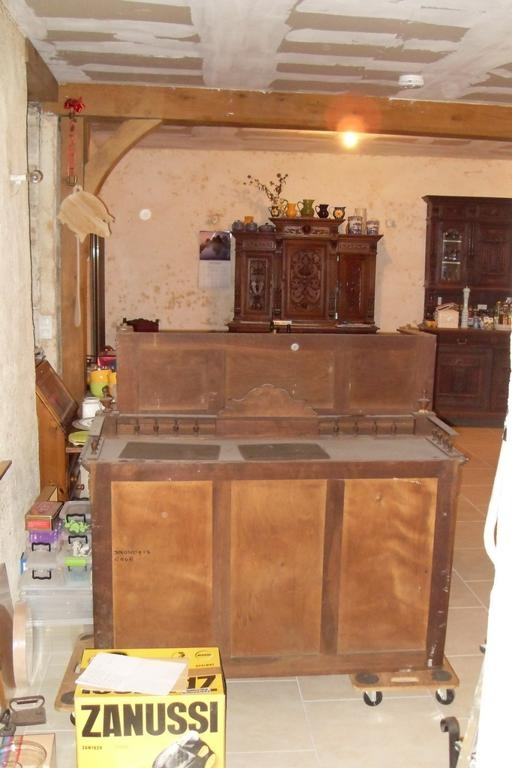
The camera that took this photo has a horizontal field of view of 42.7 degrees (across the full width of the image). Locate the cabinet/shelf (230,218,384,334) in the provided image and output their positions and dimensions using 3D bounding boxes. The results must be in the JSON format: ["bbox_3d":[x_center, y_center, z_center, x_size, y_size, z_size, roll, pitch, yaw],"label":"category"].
[{"bbox_3d":[0.517,-1.107,6.907,1.523,1.117,0.456,1,6,-2],"label":"cabinet/shelf"}]

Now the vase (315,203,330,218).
[{"bbox_3d":[0.716,-1.837,6.956,0.159,0.201,0.207,1,9,13],"label":"vase"}]

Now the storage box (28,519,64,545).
[{"bbox_3d":[-0.899,0.634,2.777,0.123,0.085,0.117,-1,11,-7],"label":"storage box"}]

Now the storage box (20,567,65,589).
[{"bbox_3d":[-0.888,0.815,2.735,0.163,0.084,0.037,2,-14,-12],"label":"storage box"}]

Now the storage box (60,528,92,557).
[{"bbox_3d":[-0.772,0.693,2.830,0.106,0.095,0.026,-1,-11,13],"label":"storage box"}]

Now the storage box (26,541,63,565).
[{"bbox_3d":[-0.902,0.722,2.762,0.126,0.073,0.085,-2,11,-19],"label":"storage box"}]

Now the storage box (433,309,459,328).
[{"bbox_3d":[2.148,-0.724,7.438,0.247,0.233,0.234,0,0,-1],"label":"storage box"}]

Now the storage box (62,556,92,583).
[{"bbox_3d":[-0.752,0.784,2.769,0.114,0.106,0.074,-2,0,-4],"label":"storage box"}]

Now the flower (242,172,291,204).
[{"bbox_3d":[0.191,-2.111,7.184,0.353,0.215,0.630,13,22,-28],"label":"flower"}]

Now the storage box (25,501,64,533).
[{"bbox_3d":[-0.914,0.561,2.800,0.117,0.049,0.206,1,11,-10],"label":"storage box"}]

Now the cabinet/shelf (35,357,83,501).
[{"bbox_3d":[-1.075,0.262,3.543,0.274,0.633,0.682,-3,16,-10],"label":"cabinet/shelf"}]
